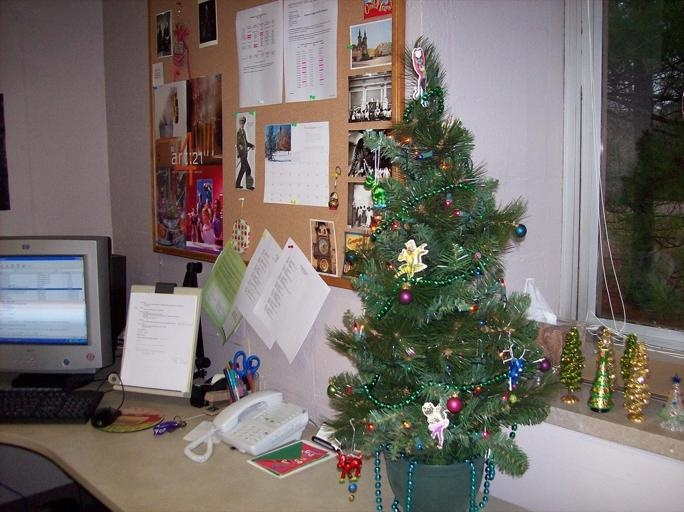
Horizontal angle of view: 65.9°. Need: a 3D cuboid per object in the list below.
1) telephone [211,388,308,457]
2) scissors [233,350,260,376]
[{"bbox_3d":[-0.268,0.547,1.755,0.275,0.119,0.268,-4,0,44],"label":"telephone"},{"bbox_3d":[-0.356,0.399,1.963,0.091,0.136,0.026,1,19,-3],"label":"scissors"}]
